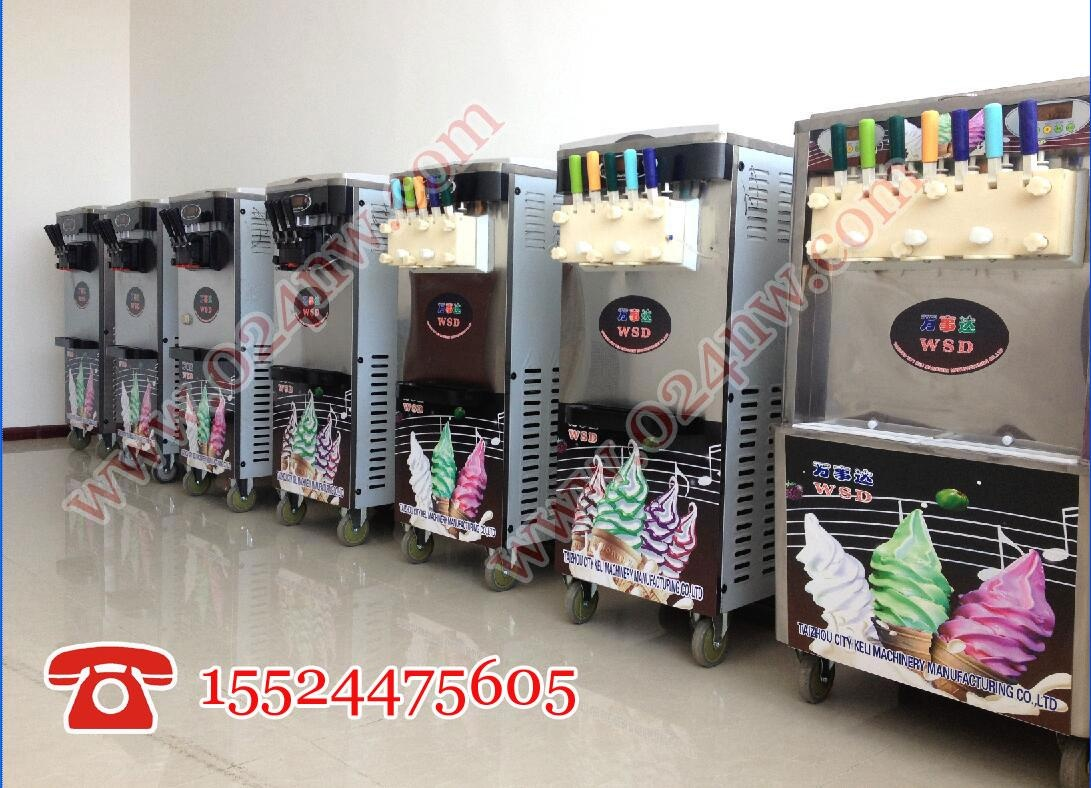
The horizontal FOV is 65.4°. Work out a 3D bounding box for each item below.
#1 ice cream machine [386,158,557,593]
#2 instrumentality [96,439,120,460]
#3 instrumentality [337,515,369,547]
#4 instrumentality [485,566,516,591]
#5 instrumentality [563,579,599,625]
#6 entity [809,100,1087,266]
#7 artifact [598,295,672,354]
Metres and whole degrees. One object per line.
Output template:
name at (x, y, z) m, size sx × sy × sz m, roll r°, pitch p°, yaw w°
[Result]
ice cream machine at (-0.357, -0.086, 4.047) m, size 0.850 × 1.978 × 0.450 m, roll 2°, pitch 8°, yaw 5°
instrumentality at (-3.403, 0.435, 6.590) m, size 0.099 × 0.127 × 0.133 m, roll 25°, pitch 41°, yaw 27°
instrumentality at (-1.039, 0.740, 4.564) m, size 0.069 × 0.198 × 0.140 m, roll -2°, pitch 8°, yaw 43°
instrumentality at (-0.217, 0.863, 3.975) m, size 0.112 × 0.116 × 0.035 m, roll 7°, pitch -1°, yaw -43°
instrumentality at (0.153, 0.896, 3.646) m, size 0.206 × 0.234 × 0.073 m, roll -6°, pitch 9°, yaw -43°
entity at (1.214, -0.646, 2.660) m, size 0.788 × 0.490 × 0.222 m, roll 9°, pitch 12°, yaw 40°
artifact at (0.351, -0.275, 3.404) m, size 0.268 × 0.293 × 0.283 m, roll -1°, pitch -27°, yaw 11°
